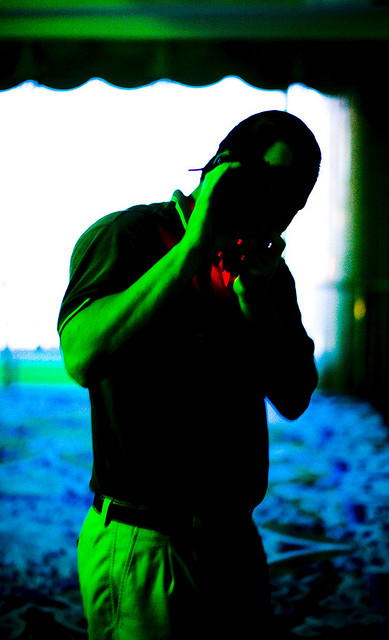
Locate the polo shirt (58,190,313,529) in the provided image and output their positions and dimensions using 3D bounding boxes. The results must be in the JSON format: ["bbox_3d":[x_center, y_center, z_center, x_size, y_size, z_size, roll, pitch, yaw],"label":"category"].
[{"bbox_3d":[-0.017,0.077,1.574,0.473,0.618,0.339,5,23,3],"label":"polo shirt"}]

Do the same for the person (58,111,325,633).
[{"bbox_3d":[-0.003,0.107,1.535,0.500,0.975,0.428,6,23,5],"label":"person"}]
